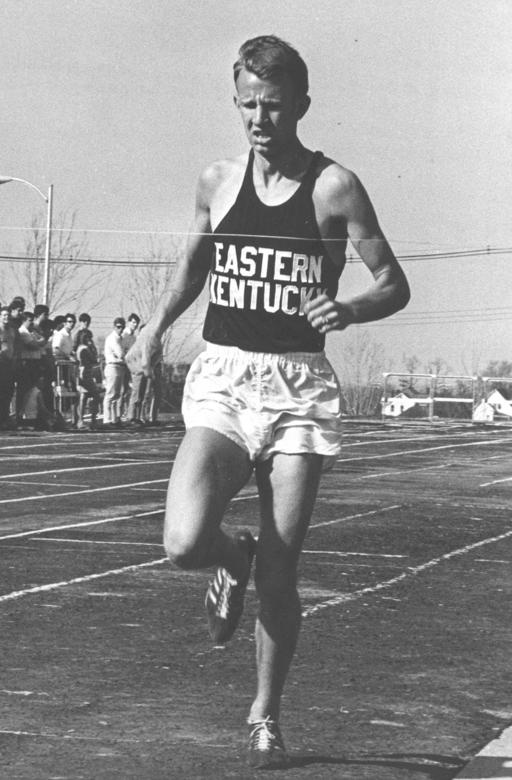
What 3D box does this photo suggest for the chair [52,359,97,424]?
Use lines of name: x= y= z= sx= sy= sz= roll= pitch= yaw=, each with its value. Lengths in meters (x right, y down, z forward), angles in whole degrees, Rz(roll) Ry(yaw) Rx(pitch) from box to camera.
chair: x=-2.539 y=0.054 z=16.424 sx=0.643 sy=1.034 sz=0.619 roll=6 pitch=6 yaw=7

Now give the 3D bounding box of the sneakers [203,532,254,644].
sneakers: x=-0.073 y=0.506 z=2.918 sx=0.102 sy=0.311 sz=0.126 roll=11 pitch=24 yaw=-13

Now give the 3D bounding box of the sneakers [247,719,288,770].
sneakers: x=0.026 y=0.833 z=2.761 sx=0.095 sy=0.111 sz=0.083 roll=3 pitch=0 yaw=7
